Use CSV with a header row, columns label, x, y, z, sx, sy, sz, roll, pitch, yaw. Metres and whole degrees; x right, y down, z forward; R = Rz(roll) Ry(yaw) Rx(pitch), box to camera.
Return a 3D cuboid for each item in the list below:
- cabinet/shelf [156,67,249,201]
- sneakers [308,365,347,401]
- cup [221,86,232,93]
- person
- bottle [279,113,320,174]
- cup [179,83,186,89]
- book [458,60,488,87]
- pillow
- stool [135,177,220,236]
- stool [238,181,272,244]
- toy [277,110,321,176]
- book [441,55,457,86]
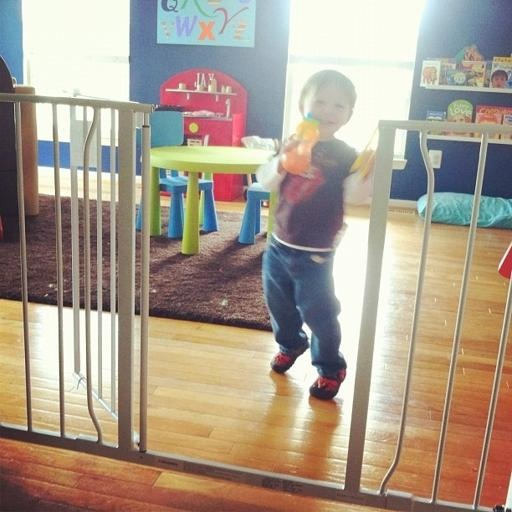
label,x,y,z,sx,sy,sz,roll,pitch,yaw
cabinet/shelf,-0.574,-1.237,4.903,0.770,1.209,0.322,5,11,6
sneakers,0.243,0.432,1.653,0.100,0.105,0.237,-11,-10,27
cup,-0.301,-1.659,4.894,0.076,0.069,0.082,2,11,0
person,0.181,-0.044,1.506,0.427,1.000,0.187,14,17,39
bottle,0.127,-0.313,1.379,0.103,0.177,0.138,3,14,3
cup,-0.734,-1.719,4.952,0.067,0.056,0.070,1,-2,0
book,1.926,-1.641,4.358,0.181,0.195,0.066,6,8,11
pillow,1.577,-0.342,3.702,0.524,0.145,0.408,7,18,9
stool,-0.456,-0.362,3.575,0.419,0.333,0.418,-12,13,-36
stool,0.005,-0.280,3.440,0.270,0.326,0.292,11,12,20
toy,0.128,-0.303,1.361,0.076,0.175,0.079,19,-3,19
book,1.707,-1.657,4.394,0.132,0.220,0.018,6,14,15
